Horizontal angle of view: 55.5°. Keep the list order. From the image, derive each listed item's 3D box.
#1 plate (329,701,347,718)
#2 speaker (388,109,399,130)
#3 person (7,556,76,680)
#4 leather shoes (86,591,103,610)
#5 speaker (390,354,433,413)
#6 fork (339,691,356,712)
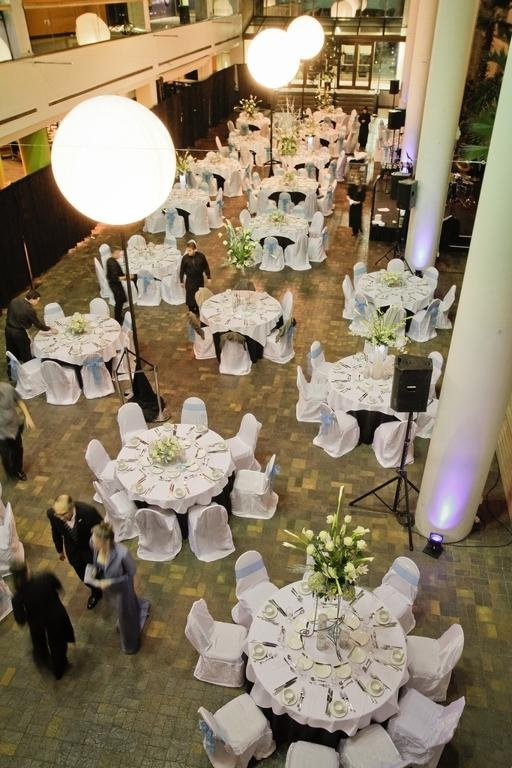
[{"bbox_3d":[0.464,1.820,2.725,0.103,0.042,0.098,0,31,1],"label":"plate"},{"bbox_3d":[4.387,-8.507,15.700,0.472,0.567,0.499,4,44,10],"label":"speaker"},{"bbox_3d":[-1.443,1.584,3.332,0.331,0.985,0.338,22,37,39],"label":"person"},{"bbox_3d":[-1.374,1.830,4.213,0.067,0.140,0.196,10,37,8],"label":"leather shoes"},{"bbox_3d":[1.400,0.066,4.447,0.318,0.630,0.422,8,30,16],"label":"speaker"},{"bbox_3d":[0.525,1.822,2.778,0.024,0.023,0.150,-12,26,-2],"label":"fork"}]
